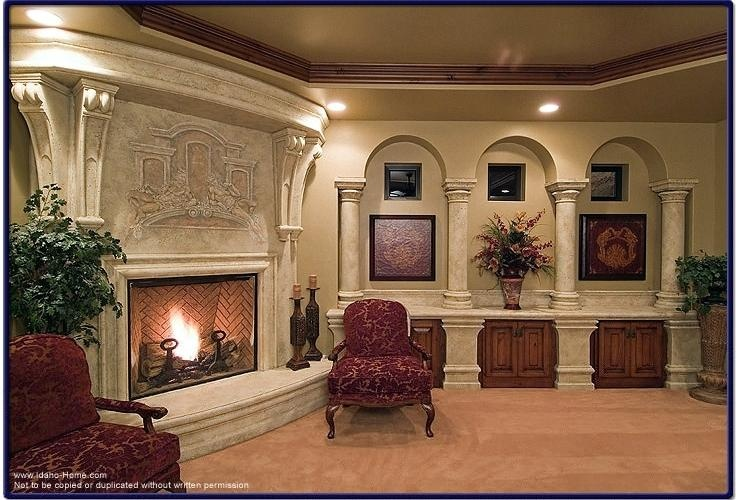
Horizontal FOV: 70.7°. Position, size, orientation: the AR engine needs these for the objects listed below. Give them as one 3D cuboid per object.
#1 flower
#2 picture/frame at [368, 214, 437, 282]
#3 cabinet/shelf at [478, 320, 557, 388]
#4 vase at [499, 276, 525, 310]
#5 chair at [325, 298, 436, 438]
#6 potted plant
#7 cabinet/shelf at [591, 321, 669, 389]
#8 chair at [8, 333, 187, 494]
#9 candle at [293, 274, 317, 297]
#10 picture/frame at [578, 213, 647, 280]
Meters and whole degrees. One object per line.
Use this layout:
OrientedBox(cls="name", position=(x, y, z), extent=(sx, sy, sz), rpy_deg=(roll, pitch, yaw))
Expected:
OrientedBox(cls="flower", position=(2.277, 0.083, 7.838), extent=(1.036, 0.906, 0.995), rpy_deg=(1, -1, 31))
OrientedBox(cls="picture/frame", position=(0.473, -0.015, 7.872), extent=(1.115, 1.025, 0.073), rpy_deg=(-1, 2, 0))
OrientedBox(cls="cabinet/shelf", position=(2.084, 1.512, 7.354), extent=(1.031, 0.817, 0.384), rpy_deg=(0, -4, 0))
OrientedBox(cls="vase", position=(2.109, 0.617, 7.698), extent=(0.408, 0.520, 0.388), rpy_deg=(-5, -6, 24))
OrientedBox(cls="chair", position=(0.097, 1.454, 6.658), extent=(1.277, 1.476, 1.244), rpy_deg=(-1, 2, -5))
OrientedBox(cls="potted plant", position=(4.556, 1.072, 7.028), extent=(0.529, 1.949, 0.339), rpy_deg=(-1, -1, 29))
OrientedBox(cls="cabinet/shelf", position=(3.705, 1.512, 7.359), extent=(1.026, 0.880, 0.385), rpy_deg=(0, -3, 2))
OrientedBox(cls="chair", position=(-2.656, 1.724, 5.813), extent=(1.749, 2.015, 1.518), rpy_deg=(-5, -9, 19))
OrientedBox(cls="candle", position=(-0.874, 0.512, 7.199), extent=(0.343, 0.310, 0.470), rpy_deg=(0, -1, -7))
OrientedBox(cls="picture/frame", position=(3.746, -0.053, 7.860), extent=(1.099, 1.007, 0.082), rpy_deg=(0, 0, 0))
